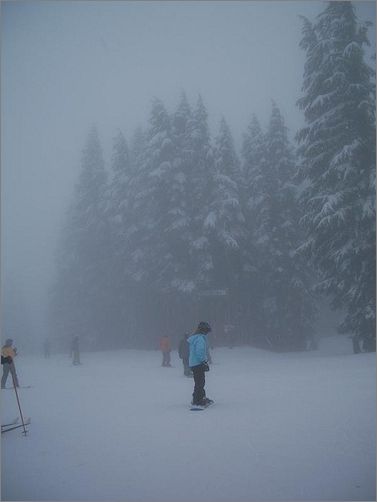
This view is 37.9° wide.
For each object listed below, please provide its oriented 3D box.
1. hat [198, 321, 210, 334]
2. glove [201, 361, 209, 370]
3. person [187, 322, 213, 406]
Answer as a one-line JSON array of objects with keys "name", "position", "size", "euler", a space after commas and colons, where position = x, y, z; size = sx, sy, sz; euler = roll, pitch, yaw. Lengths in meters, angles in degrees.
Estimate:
[{"name": "hat", "position": [0.363, 1.700, 12.262], "size": [0.175, 0.291, 0.249], "euler": [0, 1, 30]}, {"name": "glove", "position": [0.374, 2.502, 11.834], "size": [0.161, 0.226, 0.263], "euler": [-2, -4, 8]}, {"name": "person", "position": [0.263, 2.498, 11.948], "size": [0.499, 1.828, 0.817], "euler": [-1, -3, -1]}]
